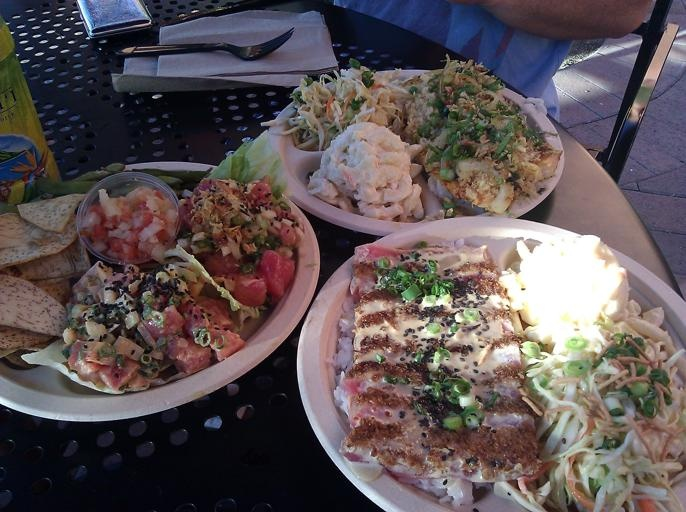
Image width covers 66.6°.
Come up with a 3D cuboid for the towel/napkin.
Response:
[{"bbox_3d":[-0.595,-1.290,3.201,0.938,0.106,0.578,-6,51,-4],"label":"towel/napkin"}]

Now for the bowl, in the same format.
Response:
[{"bbox_3d":[-0.862,-0.137,2.076,0.393,0.163,0.372,0,74,-2],"label":"bowl"}]
